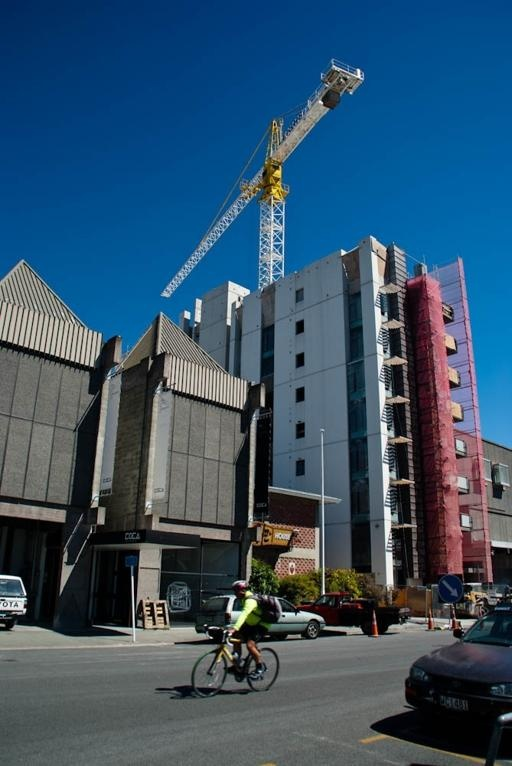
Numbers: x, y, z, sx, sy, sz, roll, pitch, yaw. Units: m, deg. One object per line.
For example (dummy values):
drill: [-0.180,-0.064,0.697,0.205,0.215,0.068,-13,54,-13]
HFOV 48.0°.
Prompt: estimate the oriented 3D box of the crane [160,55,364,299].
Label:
crane: [0.184,-19.997,73.978,4.786,33.195,36.782,22,-40,-31]

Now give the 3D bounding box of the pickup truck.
pickup truck: [4.220,9.643,24.286,4.176,1.562,2.109,-11,-22,39]

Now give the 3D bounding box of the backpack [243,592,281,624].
backpack: [0.118,3.154,8.108,0.446,0.515,0.347,10,-10,-15]
